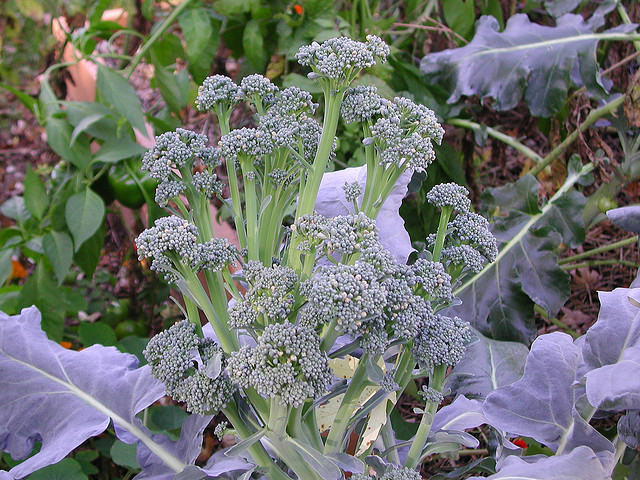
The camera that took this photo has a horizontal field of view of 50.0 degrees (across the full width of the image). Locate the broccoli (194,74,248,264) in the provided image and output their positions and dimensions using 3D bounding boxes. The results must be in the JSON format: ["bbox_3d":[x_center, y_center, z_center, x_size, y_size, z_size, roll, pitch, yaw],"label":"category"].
[{"bbox_3d":[-0.166,-0.141,1.257,0.077,0.329,0.082,0,17,30],"label":"broccoli"}]

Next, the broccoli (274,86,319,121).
[{"bbox_3d":[-0.042,-0.245,1.202,0.052,0.053,0.057,24,25,-1],"label":"broccoli"}]

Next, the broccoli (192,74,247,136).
[{"bbox_3d":[-0.178,-0.254,1.255,0.075,0.130,0.091,-4,24,1],"label":"broccoli"}]

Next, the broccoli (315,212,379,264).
[{"bbox_3d":[0.048,-0.014,1.185,0.074,0.101,0.101,-28,67,-3],"label":"broccoli"}]

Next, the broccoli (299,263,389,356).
[{"bbox_3d":[0.041,0.091,1.190,0.132,0.182,0.151,4,55,-16],"label":"broccoli"}]

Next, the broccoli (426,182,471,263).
[{"bbox_3d":[0.232,-0.031,1.281,0.059,0.170,0.062,10,21,-6],"label":"broccoli"}]

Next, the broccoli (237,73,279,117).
[{"bbox_3d":[-0.116,-0.254,1.226,0.043,0.048,0.071,3,93,10],"label":"broccoli"}]

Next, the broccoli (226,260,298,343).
[{"bbox_3d":[-0.100,0.090,1.217,0.111,0.130,0.127,-12,57,-11],"label":"broccoli"}]

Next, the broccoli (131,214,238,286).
[{"bbox_3d":[-0.238,0.031,1.233,0.121,0.095,0.157,5,77,-4],"label":"broccoli"}]
